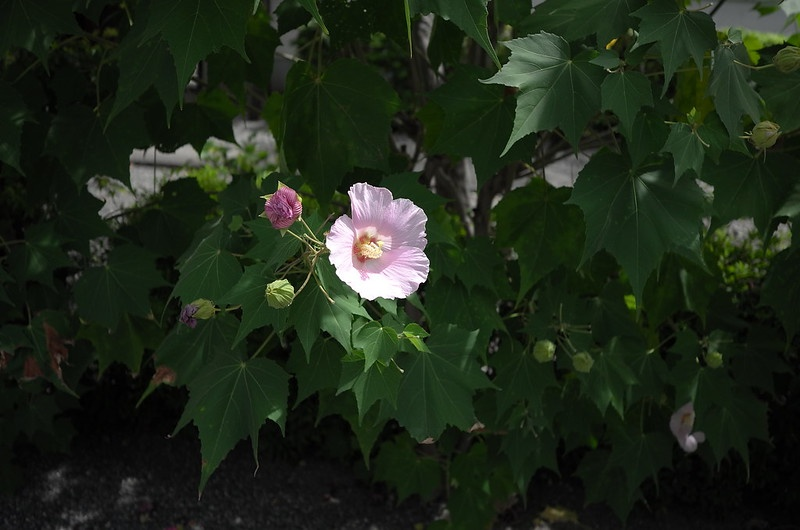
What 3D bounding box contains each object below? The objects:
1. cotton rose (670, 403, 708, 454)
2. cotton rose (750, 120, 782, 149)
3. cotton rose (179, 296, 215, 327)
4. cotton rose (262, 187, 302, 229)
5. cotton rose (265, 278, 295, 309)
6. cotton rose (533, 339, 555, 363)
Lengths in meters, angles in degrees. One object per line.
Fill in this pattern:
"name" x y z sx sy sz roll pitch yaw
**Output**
"cotton rose" 1.142 0.620 2.829 0.178 0.162 0.044 -14 19 -28
"cotton rose" 1.261 -0.451 2.414 0.090 0.094 0.079 -1 12 29
"cotton rose" -0.703 0.165 2.449 0.119 0.084 0.145 16 6 -4
"cotton rose" -0.365 -0.179 2.165 0.104 0.129 0.057 22 10 1
"cotton rose" -0.381 0.089 2.226 0.084 0.086 0.039 39 10 -1
"cotton rose" 0.561 0.331 2.724 0.082 0.091 0.102 16 5 13
